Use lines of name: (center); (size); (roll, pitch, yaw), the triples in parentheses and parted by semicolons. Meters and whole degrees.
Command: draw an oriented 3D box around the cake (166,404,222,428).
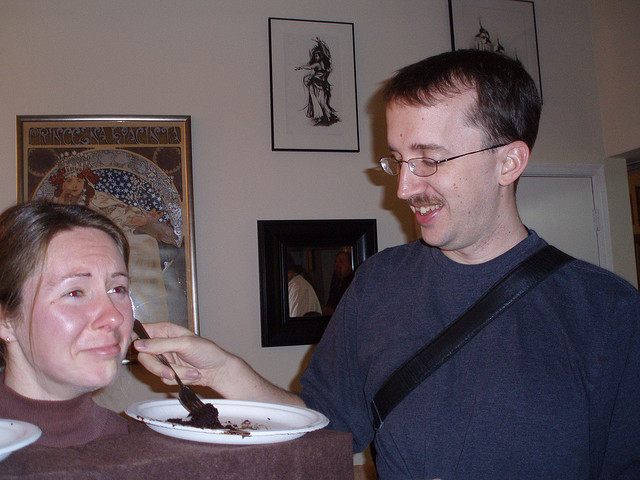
cake: (-0.367, 0.532, 1.837); (0.136, 0.052, 0.129); (-3, 0, -17)

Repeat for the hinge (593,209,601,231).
hinge: (1.740, -0.125, 3.866); (0.031, 0.144, 0.017); (-3, -1, 12)

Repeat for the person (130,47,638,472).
person: (0.331, 0.055, 1.989); (1.237, 1.343, 0.472); (-3, -1, 26)

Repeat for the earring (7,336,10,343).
earring: (-0.974, 0.311, 1.923); (0.005, 0.015, 0.011); (-2, -1, -31)

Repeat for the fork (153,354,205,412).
fork: (-0.479, 0.386, 2.065); (0.069, 0.066, 0.484); (-24, 32, -12)
